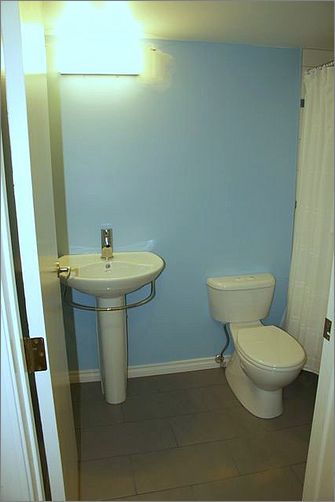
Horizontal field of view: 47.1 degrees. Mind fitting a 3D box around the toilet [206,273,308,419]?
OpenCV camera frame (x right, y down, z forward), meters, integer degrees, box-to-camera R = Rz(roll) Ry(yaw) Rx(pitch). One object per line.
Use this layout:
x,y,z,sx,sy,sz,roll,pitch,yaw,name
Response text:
0.541,0.551,2.210,0.401,0.670,0.653,-5,16,-15,toilet
